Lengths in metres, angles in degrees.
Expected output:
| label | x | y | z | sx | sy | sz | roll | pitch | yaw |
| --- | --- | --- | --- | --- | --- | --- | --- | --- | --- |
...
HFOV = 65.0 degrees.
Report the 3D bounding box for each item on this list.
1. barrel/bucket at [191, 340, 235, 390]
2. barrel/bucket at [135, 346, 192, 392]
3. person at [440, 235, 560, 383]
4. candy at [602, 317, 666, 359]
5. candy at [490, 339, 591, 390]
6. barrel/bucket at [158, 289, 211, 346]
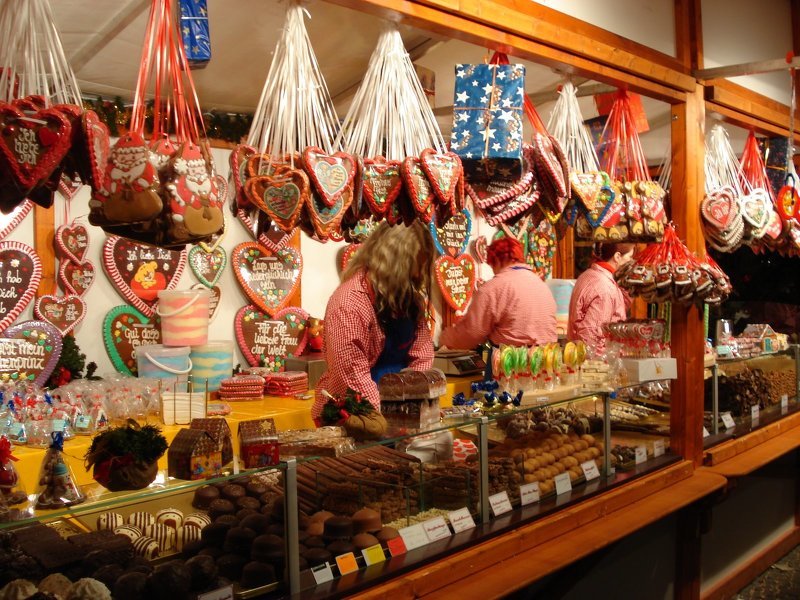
| label | x | y | z | sx | sy | sz | roll | pitch | yaw |
| --- | --- | --- | --- | --- | --- | --- | --- | --- | --- |
| barrel/bucket | -1.194 | 0.319 | 4.045 | 0.270 | 0.306 | 0.281 | 17 | 33 | -11 |
| barrel/bucket | -1.431 | 0.423 | 3.810 | 0.316 | 0.313 | 0.314 | 1 | 1 | 0 |
| person | 0.637 | 0.158 | 3.784 | 0.602 | 1.061 | 0.580 | -2 | -6 | -36 |
| candy | 1.231 | 0.173 | 3.256 | 0.322 | 0.192 | 0.207 | 2 | 11 | 10 |
| candy | 0.620 | 0.281 | 2.815 | 0.274 | 0.128 | 0.238 | -3 | 6 | 0 |
| barrel/bucket | -1.333 | 0.091 | 3.895 | 0.342 | 0.340 | 0.347 | 0 | 3 | 0 |
